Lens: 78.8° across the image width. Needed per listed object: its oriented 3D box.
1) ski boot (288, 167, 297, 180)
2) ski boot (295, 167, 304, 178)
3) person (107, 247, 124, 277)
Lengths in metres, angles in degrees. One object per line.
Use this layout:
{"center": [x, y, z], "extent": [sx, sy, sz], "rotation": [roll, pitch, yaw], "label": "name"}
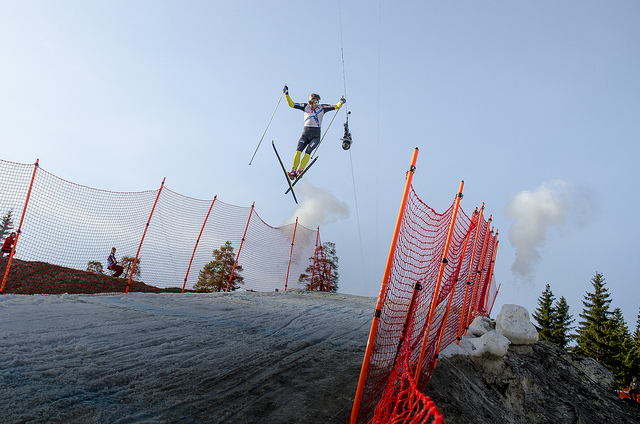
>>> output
{"center": [-0.871, -1.284, 13.256], "extent": [0.356, 0.540, 0.205], "rotation": [4, -3, 20], "label": "ski boot"}
{"center": [-0.650, -1.371, 13.383], "extent": [0.132, 0.451, 0.184], "rotation": [26, 7, -32], "label": "ski boot"}
{"center": [-6.090, 1.547, 11.613], "extent": [0.410, 0.887, 0.559], "rotation": [1, 11, -16], "label": "person"}
